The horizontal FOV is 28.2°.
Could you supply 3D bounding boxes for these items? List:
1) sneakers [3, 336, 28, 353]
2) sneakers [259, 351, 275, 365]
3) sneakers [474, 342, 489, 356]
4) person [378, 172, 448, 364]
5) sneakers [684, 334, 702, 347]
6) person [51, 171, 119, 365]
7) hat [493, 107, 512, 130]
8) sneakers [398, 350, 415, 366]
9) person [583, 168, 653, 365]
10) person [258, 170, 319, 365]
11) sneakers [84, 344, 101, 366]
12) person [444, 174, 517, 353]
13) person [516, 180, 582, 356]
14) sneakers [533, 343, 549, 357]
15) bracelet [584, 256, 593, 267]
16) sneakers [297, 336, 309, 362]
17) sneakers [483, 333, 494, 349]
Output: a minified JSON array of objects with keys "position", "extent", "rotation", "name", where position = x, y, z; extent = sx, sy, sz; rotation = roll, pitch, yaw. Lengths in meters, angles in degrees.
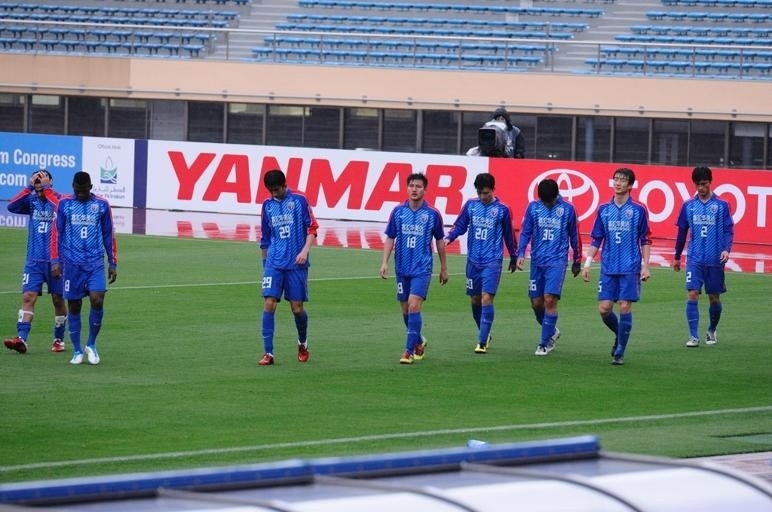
[{"position":[-6.055,1.451,25.152],"extent":[0.428,0.203,0.255],"rotation":[17,49,4],"name":"sneakers"},{"position":[-1.957,1.666,25.058],"extent":[0.249,0.195,0.535],"rotation":[-1,-5,6],"name":"sneakers"},{"position":[1.626,1.563,25.845],"extent":[0.218,0.179,0.489],"rotation":[-1,-7,7],"name":"sneakers"},{"position":[0.455,0.183,25.336],"extent":[1.087,3.096,0.854],"rotation":[-2,8,-1],"name":"person"},{"position":[5.341,1.463,26.576],"extent":[0.226,0.190,0.570],"rotation":[3,5,12],"name":"sneakers"},{"position":[-4.922,0.181,24.891],"extent":[1.031,3.094,0.897],"rotation":[-3,8,-10],"name":"person"},{"position":[2.824,-3.289,36.930],"extent":[0.469,0.528,0.936],"rotation":[-1,6,5],"name":"hat"},{"position":[0.343,1.671,25.240],"extent":[0.269,0.221,0.568],"rotation":[-1,-6,14],"name":"sneakers"},{"position":[3.856,0.158,25.427],"extent":[1.055,3.209,0.782],"rotation":[0,8,13],"name":"person"},{"position":[-1.644,0.167,25.108],"extent":[1.011,3.159,0.907],"rotation":[-2,8,-4],"name":"person"},{"position":[-4.730,1.593,24.821],"extent":[0.174,0.138,0.372],"rotation":[-15,46,-41],"name":"sneakers"},{"position":[1.661,0.117,25.835],"extent":[1.104,3.006,0.723],"rotation":[-1,8,3],"name":"person"},{"position":[2.741,0.189,25.751],"extent":[1.055,2.933,0.738],"rotation":[-1,8,5],"name":"person"},{"position":[2.627,1.574,25.803],"extent":[0.135,0.120,0.332],"rotation":[3,8,18],"name":"sneakers"},{"position":[3.629,0.098,27.416],"extent":[0.090,0.062,0.267],"rotation":[12,-32,-27],"name":"bracelet"},{"position":[-1.357,1.520,25.227],"extent":[0.183,0.405,0.199],"rotation":[-3,-2,5],"name":"sneakers"},{"position":[1.742,1.458,26.291],"extent":[0.115,0.259,0.115],"rotation":[17,-32,8],"name":"sneakers"}]
